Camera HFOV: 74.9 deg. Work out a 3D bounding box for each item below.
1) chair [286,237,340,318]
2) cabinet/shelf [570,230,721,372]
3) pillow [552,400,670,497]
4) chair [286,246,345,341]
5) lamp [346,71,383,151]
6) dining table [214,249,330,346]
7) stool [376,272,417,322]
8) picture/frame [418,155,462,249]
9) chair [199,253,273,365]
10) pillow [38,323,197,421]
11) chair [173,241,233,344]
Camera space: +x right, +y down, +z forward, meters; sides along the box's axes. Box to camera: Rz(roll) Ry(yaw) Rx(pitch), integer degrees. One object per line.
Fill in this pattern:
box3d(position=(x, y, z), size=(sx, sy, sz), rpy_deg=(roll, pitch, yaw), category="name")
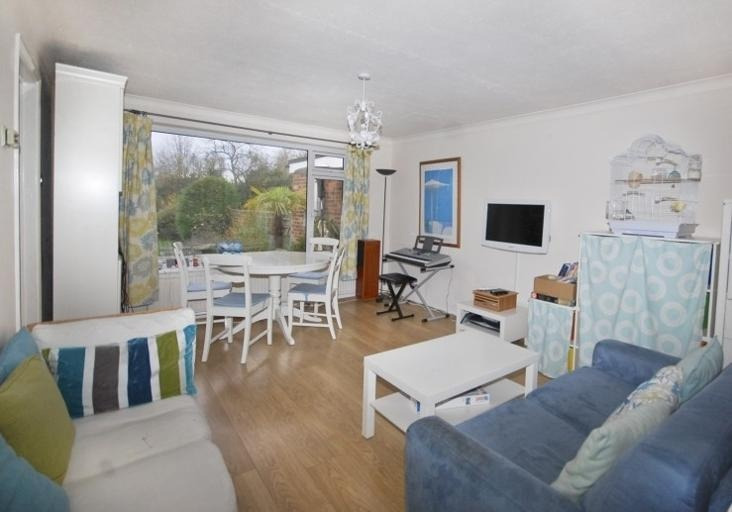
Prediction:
box3d(position=(-0.568, 0.385, 5.405), size=(0.574, 0.976, 0.550), rpy_deg=(2, 3, -1), category="chair")
box3d(position=(2.552, 0.284, 4.373), size=(0.948, 1.339, 0.701), rpy_deg=(6, 32, 36), category="cabinet/shelf")
box3d(position=(1.299, 1.004, 2.505), size=(0.625, 0.434, 0.196), rpy_deg=(-2, 8, -23), category="pillow")
box3d(position=(-0.593, 0.393, 5.417), size=(0.627, 0.954, 0.599), rpy_deg=(3, 3, 10), category="chair")
box3d(position=(-0.012, -1.255, 4.215), size=(0.341, 0.705, 0.349), rpy_deg=(-1, 1, -37), category="lamp")
box3d(position=(-0.893, 0.312, 5.188), size=(0.962, 0.713, 0.991), rpy_deg=(3, 10, 15), category="dining table")
box3d(position=(0.367, 0.518, 6.251), size=(0.494, 0.522, 0.580), rpy_deg=(-3, 8, -31), category="stool")
box3d(position=(0.978, -0.716, 6.447), size=(0.631, 1.143, 0.039), rpy_deg=(7, 12, 40), category="picture/frame")
box3d(position=(-1.303, 0.466, 4.791), size=(0.615, 1.038, 0.705), rpy_deg=(3, 7, 26), category="chair")
box3d(position=(-1.586, 0.748, 3.135), size=(0.924, 0.596, 0.255), rpy_deg=(-1, 21, -30), category="pillow")
box3d(position=(-1.728, 0.321, 5.095), size=(0.603, 0.929, 0.570), rpy_deg=(-2, 5, 0), category="chair")
